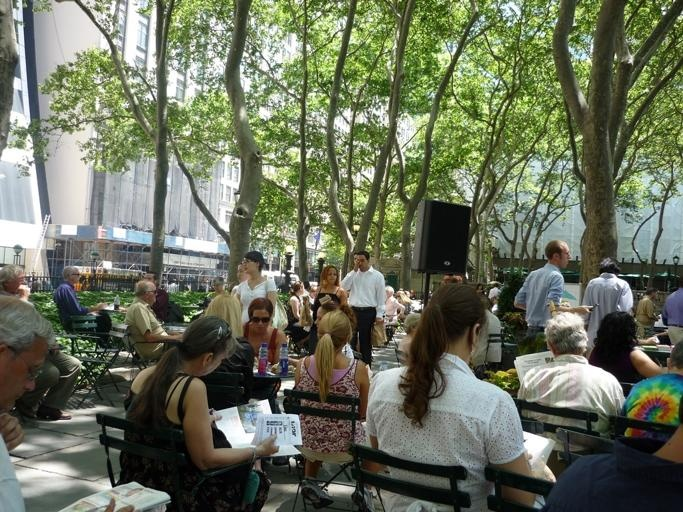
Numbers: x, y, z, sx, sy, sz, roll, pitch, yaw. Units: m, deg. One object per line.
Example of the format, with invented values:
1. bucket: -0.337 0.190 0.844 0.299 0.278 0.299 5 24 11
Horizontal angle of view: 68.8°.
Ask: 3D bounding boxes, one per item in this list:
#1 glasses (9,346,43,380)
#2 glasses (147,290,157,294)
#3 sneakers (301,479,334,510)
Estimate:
1. glasses: -1.417 0.487 2.245 0.116 0.037 0.123 25 -41 9
2. glasses: -3.246 0.606 8.467 0.109 0.115 0.037 4 -10 -15
3. sneakers: -0.223 2.120 4.464 0.274 0.120 0.270 31 8 21
